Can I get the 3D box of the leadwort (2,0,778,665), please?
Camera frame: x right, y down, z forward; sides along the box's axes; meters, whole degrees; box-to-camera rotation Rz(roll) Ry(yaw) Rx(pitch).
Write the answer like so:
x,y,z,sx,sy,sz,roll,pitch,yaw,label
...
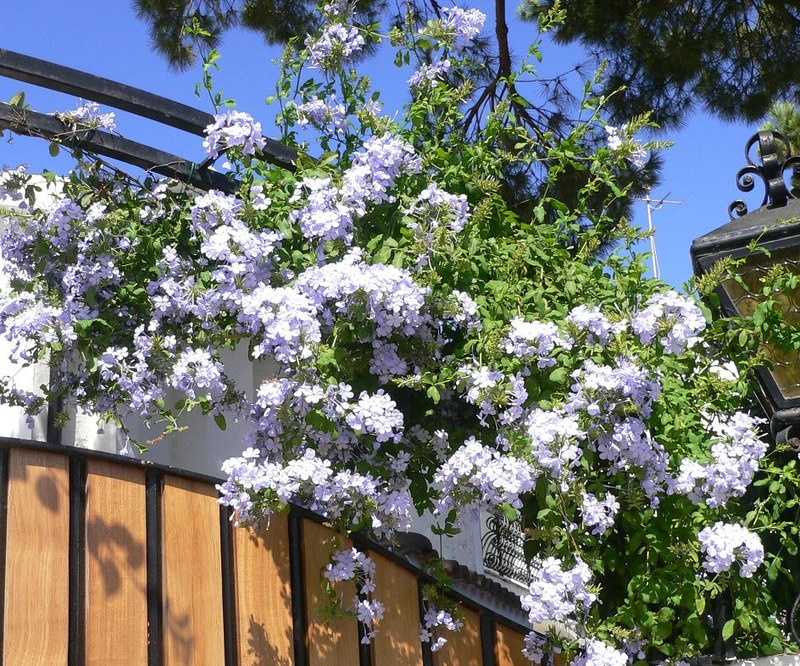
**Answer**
x,y,z,sx,sy,sz,roll,pitch,yaw,label
0.010,0.008,4.088,2.405,2.806,1.433,6,-40,-11,leadwort
